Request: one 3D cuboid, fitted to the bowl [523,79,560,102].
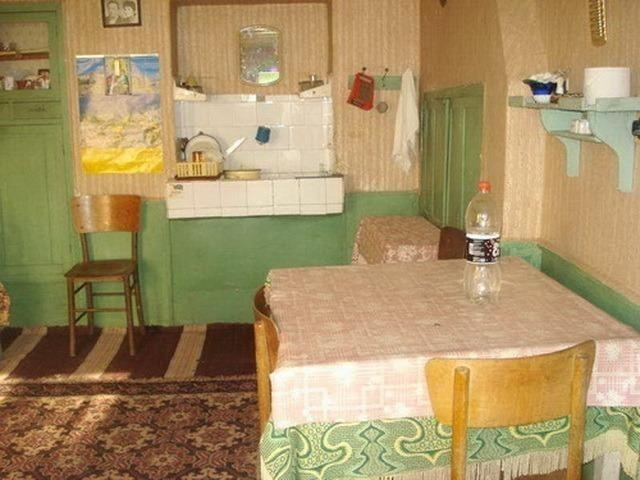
[{"bbox_3d":[0.965,-0.657,2.300,0.111,0.069,0.136,0,11,2],"label":"bowl"}]

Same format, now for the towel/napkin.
[{"bbox_3d":[0.742,-1.031,4.467,0.226,0.907,0.417,2,15,9],"label":"towel/napkin"}]

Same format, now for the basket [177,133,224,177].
[{"bbox_3d":[-1.044,-0.742,4.490,0.396,0.367,0.470,-3,15,-9],"label":"basket"}]

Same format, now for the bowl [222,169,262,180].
[{"bbox_3d":[-0.683,-0.586,4.528,0.300,0.066,0.406,0,14,0],"label":"bowl"}]

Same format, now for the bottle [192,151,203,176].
[{"bbox_3d":[-1.036,-0.665,4.390,0.083,0.164,0.143,-5,15,-15],"label":"bottle"}]

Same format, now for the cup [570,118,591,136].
[{"bbox_3d":[1.073,-0.469,2.136,0.053,0.057,0.121,3,15,12],"label":"cup"}]

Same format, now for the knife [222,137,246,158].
[{"bbox_3d":[-0.794,-0.852,4.701,0.302,0.068,0.044,-35,-22,16],"label":"knife"}]

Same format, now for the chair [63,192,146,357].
[{"bbox_3d":[-1.729,0.255,4.168,0.652,1.189,0.783,-5,16,-17],"label":"chair"}]

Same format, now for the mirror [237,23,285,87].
[{"bbox_3d":[-0.548,-1.715,4.675,0.569,0.738,0.075,0,5,-2],"label":"mirror"}]

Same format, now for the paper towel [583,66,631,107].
[{"bbox_3d":[1.067,-0.589,1.936,0.182,0.127,0.181,5,15,26],"label":"paper towel"}]
